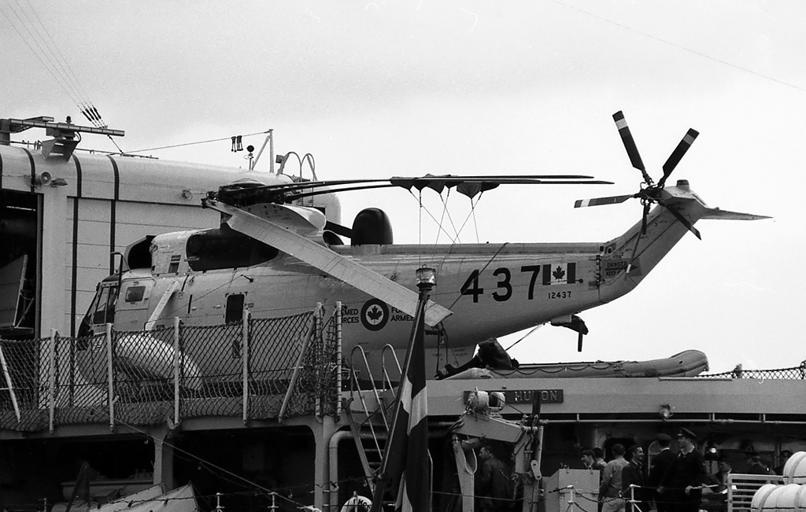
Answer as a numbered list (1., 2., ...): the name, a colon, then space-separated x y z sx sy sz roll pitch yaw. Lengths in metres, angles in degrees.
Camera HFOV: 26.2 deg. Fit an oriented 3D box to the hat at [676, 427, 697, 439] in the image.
1. hat: 7.222 4.618 44.811 0.440 0.153 0.329 12 -8 -3
